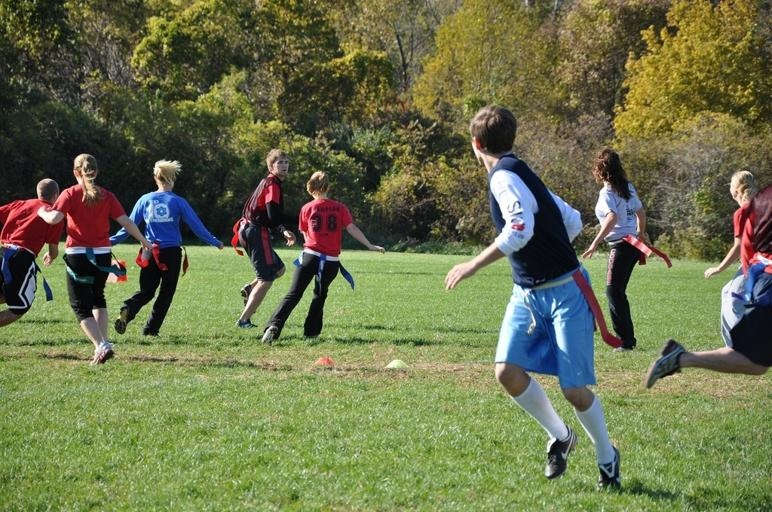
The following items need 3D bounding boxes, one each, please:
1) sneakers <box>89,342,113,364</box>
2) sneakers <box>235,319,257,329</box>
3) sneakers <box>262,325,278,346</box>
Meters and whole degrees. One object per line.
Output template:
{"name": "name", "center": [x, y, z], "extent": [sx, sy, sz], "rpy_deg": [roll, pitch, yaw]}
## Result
{"name": "sneakers", "center": [-5.752, 1.970, 18.881], "extent": [0.635, 0.295, 0.257], "rpy_deg": [-42, 2, 42]}
{"name": "sneakers", "center": [-3.242, 1.587, 21.680], "extent": [0.429, 0.201, 0.188], "rpy_deg": [2, 11, -10]}
{"name": "sneakers", "center": [-2.540, 1.755, 20.495], "extent": [0.218, 0.506, 0.217], "rpy_deg": [33, 0, -3]}
